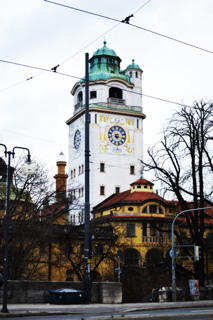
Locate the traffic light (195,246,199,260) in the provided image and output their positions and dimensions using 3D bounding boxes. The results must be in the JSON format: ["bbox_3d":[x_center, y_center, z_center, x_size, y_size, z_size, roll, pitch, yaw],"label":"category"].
[{"bbox_3d":[5.401,5.588,50.174,0.202,0.852,0.342,-1,-15,3],"label":"traffic light"}]
